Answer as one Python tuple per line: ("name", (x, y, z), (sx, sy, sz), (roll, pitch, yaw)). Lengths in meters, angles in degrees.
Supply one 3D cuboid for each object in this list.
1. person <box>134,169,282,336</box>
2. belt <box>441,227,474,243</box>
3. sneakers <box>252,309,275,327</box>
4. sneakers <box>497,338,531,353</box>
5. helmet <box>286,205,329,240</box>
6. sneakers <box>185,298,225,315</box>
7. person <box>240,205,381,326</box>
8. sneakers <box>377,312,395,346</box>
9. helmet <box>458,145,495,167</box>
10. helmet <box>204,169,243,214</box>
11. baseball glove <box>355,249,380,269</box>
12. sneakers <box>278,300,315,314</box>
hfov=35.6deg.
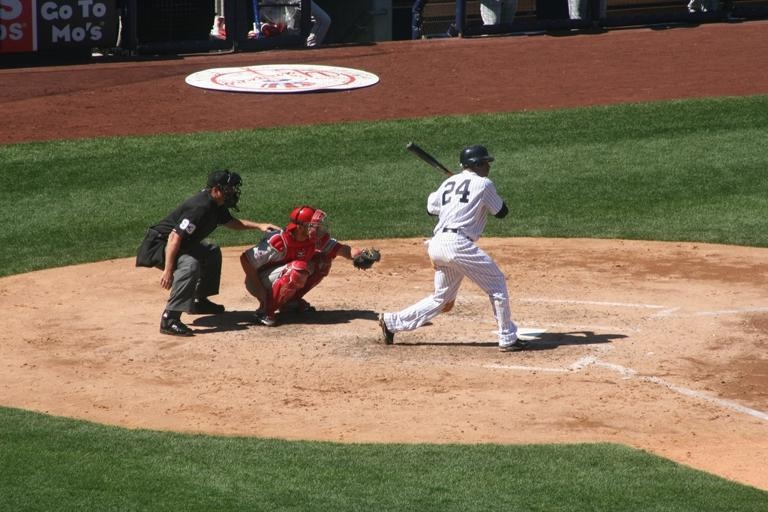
("person", (-2.259, -0.064, 14.240), (1.108, 1.939, 0.742), (-3, 8, -30))
("belt", (0.826, -0.242, 13.409), (0.348, 0.153, 0.110), (1, 7, 1))
("sneakers", (-1.425, 0.744, 14.236), (0.126, 0.118, 0.333), (-12, 11, -38))
("sneakers", (1.490, 0.999, 13.614), (0.415, 0.136, 0.120), (-8, 27, -15))
("helmet", (-0.907, -0.433, 14.126), (0.569, 0.298, 0.331), (0, 18, -1))
("sneakers", (-2.175, 0.622, 14.582), (0.568, 0.196, 0.164), (-2, 11, -2))
("person", (-0.819, 0.098, 14.401), (1.905, 1.114, 0.954), (0, 8, 6))
("sneakers", (0.008, 0.842, 13.754), (0.203, 0.367, 0.141), (-21, -4, 21))
("helmet", (1.084, -1.152, 13.604), (0.417, 0.154, 0.267), (-6, 9, -7))
("helmet", (-1.914, -0.795, 14.091), (0.499, 0.383, 0.336), (14, 8, 1))
("baseball glove", (-0.217, 0.023, 13.953), (0.285, 0.226, 0.218), (0, 6, -3))
("sneakers", (-1.065, 0.627, 14.610), (0.504, 0.172, 0.148), (-5, 43, -4))
